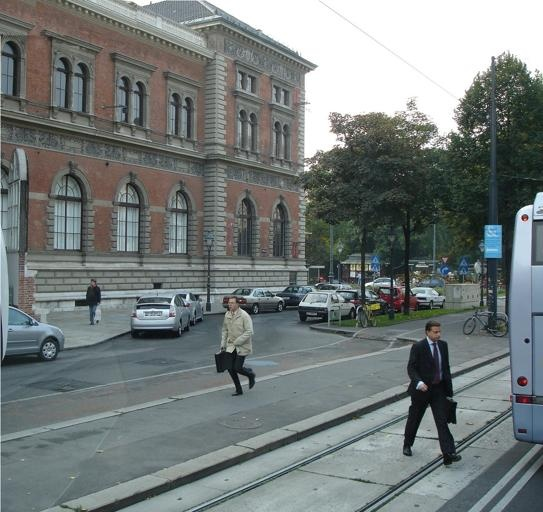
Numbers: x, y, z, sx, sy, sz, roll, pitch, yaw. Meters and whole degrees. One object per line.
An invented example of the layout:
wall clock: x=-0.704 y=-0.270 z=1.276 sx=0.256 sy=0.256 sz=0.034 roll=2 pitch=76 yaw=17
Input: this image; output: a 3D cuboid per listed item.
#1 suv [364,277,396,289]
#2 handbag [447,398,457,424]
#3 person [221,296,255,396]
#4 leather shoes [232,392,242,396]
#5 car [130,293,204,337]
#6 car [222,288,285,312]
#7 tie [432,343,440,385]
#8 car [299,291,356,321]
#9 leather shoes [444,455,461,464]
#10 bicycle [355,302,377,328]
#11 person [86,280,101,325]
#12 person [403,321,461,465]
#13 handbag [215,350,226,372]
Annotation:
suv: x=7.697 y=1.883 z=52.620 sx=2.057 sy=1.106 sz=1.179 roll=2 pitch=-2 yaw=2
handbag: x=2.420 y=2.081 z=10.018 sx=0.119 sy=0.353 sz=0.208 roll=2 pitch=1 yaw=8
person: x=-0.617 y=1.669 z=13.959 sx=0.631 sy=1.812 sz=0.797 roll=1 pitch=1 yaw=-3
leather shoes: x=-0.627 y=2.529 z=13.922 sx=0.198 sy=0.092 sz=0.200 roll=2 pitch=1 yaw=-3
car: x=-3.738 y=1.992 z=25.252 sx=1.541 sy=1.392 sz=2.110 roll=2 pitch=1 yaw=10
car: x=-0.774 y=2.251 z=38.232 sx=1.376 sy=1.059 sz=3.167 roll=0 pitch=2 yaw=35
tie: x=2.253 y=1.445 z=10.134 sx=0.112 sy=0.519 sz=0.167 roll=2 pitch=1 yaw=11
car: x=2.504 y=1.988 z=31.730 sx=1.157 sy=0.910 sz=2.083 roll=0 pitch=3 yaw=37
leather shoes: x=2.378 y=2.669 z=9.840 sx=0.180 sy=0.131 sz=0.061 roll=-31 pitch=16 yaw=-7
bicycle: x=3.675 y=2.302 z=29.150 sx=0.503 sy=0.662 sz=1.065 roll=1 pitch=9 yaw=30
person: x=-6.716 y=1.687 z=28.076 sx=0.478 sy=1.661 sz=1.394 roll=1 pitch=1 yaw=-14
person: x=2.209 y=1.824 z=10.156 sx=0.896 sy=1.873 sz=0.628 roll=2 pitch=2 yaw=36
handbag: x=-0.937 y=1.949 z=13.801 sx=0.202 sy=0.410 sz=0.299 roll=1 pitch=1 yaw=-5
